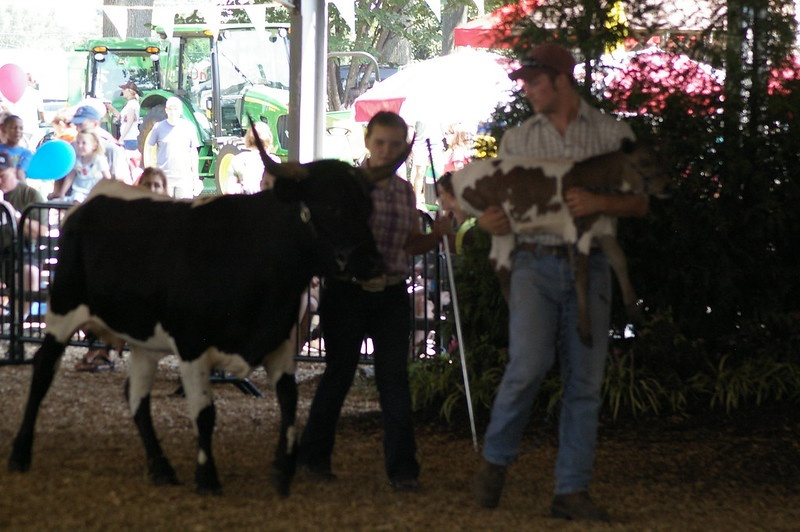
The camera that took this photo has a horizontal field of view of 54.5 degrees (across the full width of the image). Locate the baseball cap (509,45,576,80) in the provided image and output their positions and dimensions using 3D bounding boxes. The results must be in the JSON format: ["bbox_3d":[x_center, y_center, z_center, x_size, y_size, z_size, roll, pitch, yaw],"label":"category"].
[{"bbox_3d":[0.904,-1.263,4.884,0.300,0.162,0.220,8,11,5],"label":"baseball cap"}]

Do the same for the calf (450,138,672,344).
[{"bbox_3d":[0.988,-0.170,4.911,1.274,1.238,0.401,2,9,15],"label":"calf"}]

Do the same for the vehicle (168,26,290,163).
[{"bbox_3d":[-3.938,-4.553,18.790,2.249,2.309,3.794,-5,6,-32],"label":"vehicle"}]

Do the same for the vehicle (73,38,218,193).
[{"bbox_3d":[-6.251,-3.821,18.959,3.223,3.172,5.035,1,16,0],"label":"vehicle"}]
